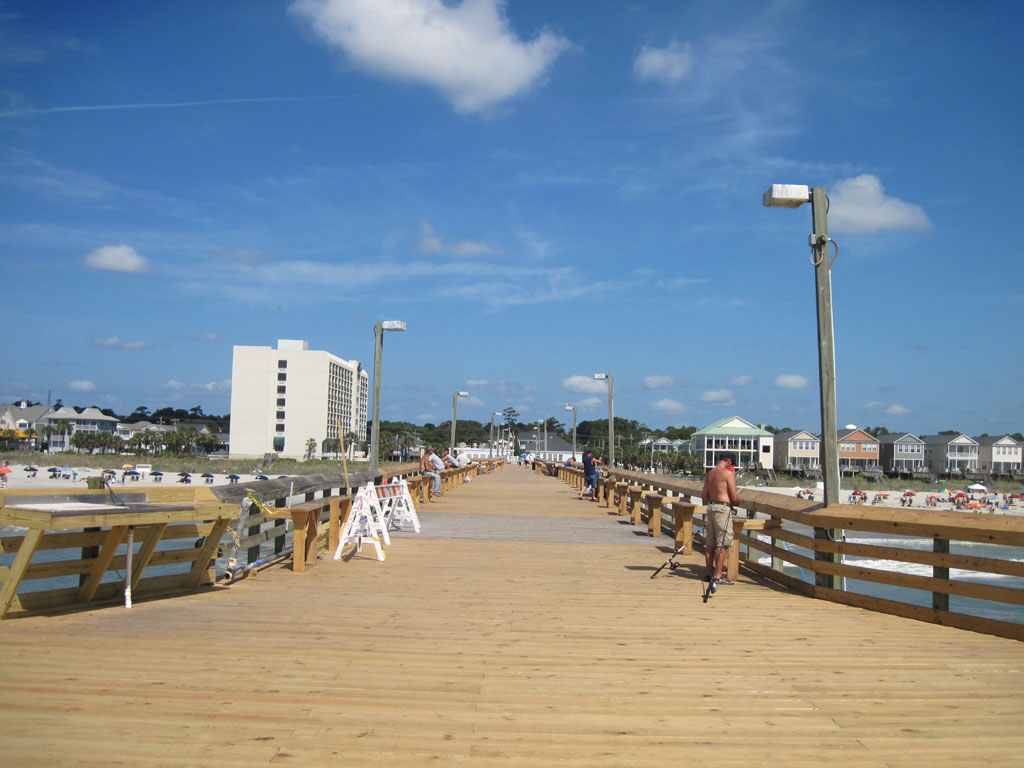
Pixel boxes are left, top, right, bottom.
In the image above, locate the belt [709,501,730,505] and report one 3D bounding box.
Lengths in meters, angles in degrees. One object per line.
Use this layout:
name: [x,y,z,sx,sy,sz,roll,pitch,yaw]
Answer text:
belt: [2.739,1.537,10.370,0.230,0.043,0.074,1,-5,5]
